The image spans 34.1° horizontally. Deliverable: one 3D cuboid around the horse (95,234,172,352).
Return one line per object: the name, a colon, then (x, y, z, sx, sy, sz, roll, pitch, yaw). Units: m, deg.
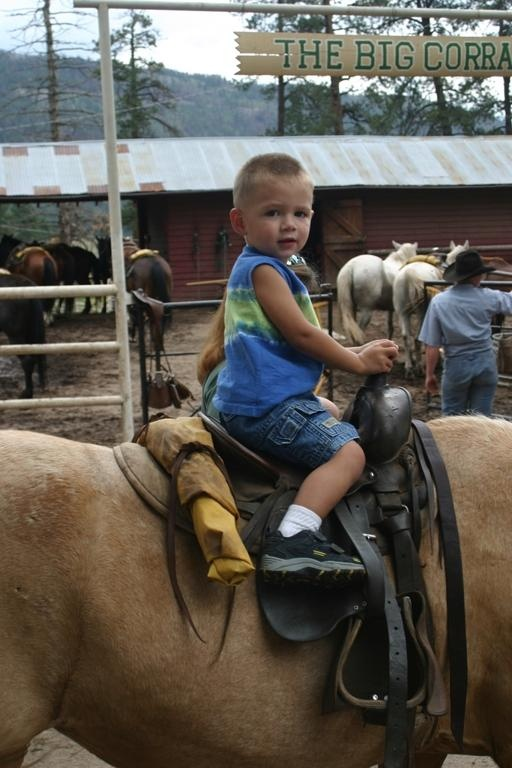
horse: (-1.730, -1.451, 12.986, 0.607, 1.378, 2.240, -7, 11, -22)

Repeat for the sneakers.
sneakers: (0.100, 0.390, 1.827, 0.262, 0.090, 0.115, 8, 53, -7)

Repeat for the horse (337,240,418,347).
horse: (1.713, -1.087, 11.321, 0.519, 1.254, 2.223, 4, 6, 38)

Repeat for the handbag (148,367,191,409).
handbag: (-0.638, 0.038, 6.029, 0.385, 0.276, 0.237, 3, 3, 1)

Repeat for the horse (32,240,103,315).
horse: (-4.425, -2.741, 19.669, 1.989, 1.156, 0.505, 13, 22, 33)

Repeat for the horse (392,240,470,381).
horse: (2.059, -0.968, 10.723, 0.499, 1.365, 1.888, -5, -1, 13)

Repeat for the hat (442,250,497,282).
hat: (1.454, -0.808, 5.546, 0.283, 0.102, 0.216, -24, 29, -27)
